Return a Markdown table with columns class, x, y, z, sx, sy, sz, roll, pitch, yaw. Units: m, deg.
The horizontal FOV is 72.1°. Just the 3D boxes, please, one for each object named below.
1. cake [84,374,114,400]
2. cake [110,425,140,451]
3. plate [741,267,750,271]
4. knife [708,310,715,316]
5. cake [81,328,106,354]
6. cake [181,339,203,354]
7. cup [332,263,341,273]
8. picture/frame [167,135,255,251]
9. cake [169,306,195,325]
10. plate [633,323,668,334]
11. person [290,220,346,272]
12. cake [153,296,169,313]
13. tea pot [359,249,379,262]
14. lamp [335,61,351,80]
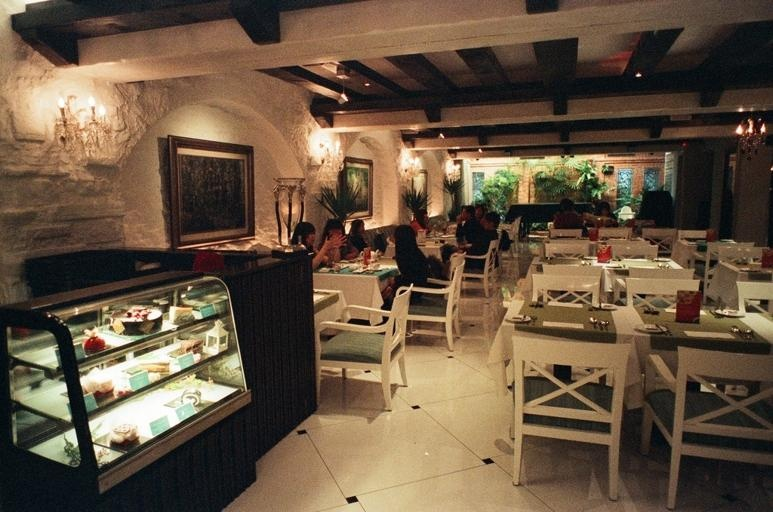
| class | x | y | z | sx | sy | sz | roll | pitch | yaw |
| --- | --- | --- | --- | --- | --- | --- | --- | --- | --- |
| cake | -1.828 | 0.832 | 3.388 | 0.145 | 0.096 | 0.140 | 7 | 3 | -14 |
| cake | -1.701 | 1.168 | 3.468 | 0.150 | 0.085 | 0.147 | 4 | 1 | 23 |
| plate | 4.387 | 0.148 | 6.524 | 0.102 | 0.022 | 0.095 | -9 | 10 | -44 |
| knife | 2.870 | 0.499 | 4.714 | 0.047 | 0.012 | 0.051 | 11 | 20 | 38 |
| cake | -1.871 | 0.538 | 3.405 | 0.150 | 0.133 | 0.146 | 0 | 5 | 12 |
| cake | -1.406 | 0.645 | 3.856 | 0.096 | 0.110 | 0.164 | 2 | 1 | 29 |
| cup | -0.636 | 0.141 | 6.771 | 0.105 | 0.118 | 0.103 | 2 | 4 | 0 |
| picture/frame | -2.272 | -0.836 | 7.037 | 1.690 | 1.360 | 0.124 | 5 | 7 | 35 |
| cake | -1.468 | 0.420 | 3.807 | 0.115 | 0.132 | 0.209 | 16 | 13 | 38 |
| plate | 2.169 | 0.594 | 4.360 | 0.263 | 0.033 | 0.168 | 1 | 9 | 3 |
| person | -0.975 | 0.068 | 6.963 | 0.632 | 0.960 | 0.435 | 1 | 15 | -9 |
| cake | -1.572 | 0.341 | 3.725 | 0.105 | 0.084 | 0.084 | 3 | 10 | 7 |
| tea pot | -0.238 | -0.009 | 6.972 | 0.207 | 0.182 | 0.329 | -6 | -5 | 8 |
| lamp | -0.528 | -2.250 | 6.395 | 0.118 | 0.147 | 0.200 | 8 | 11 | 35 |
